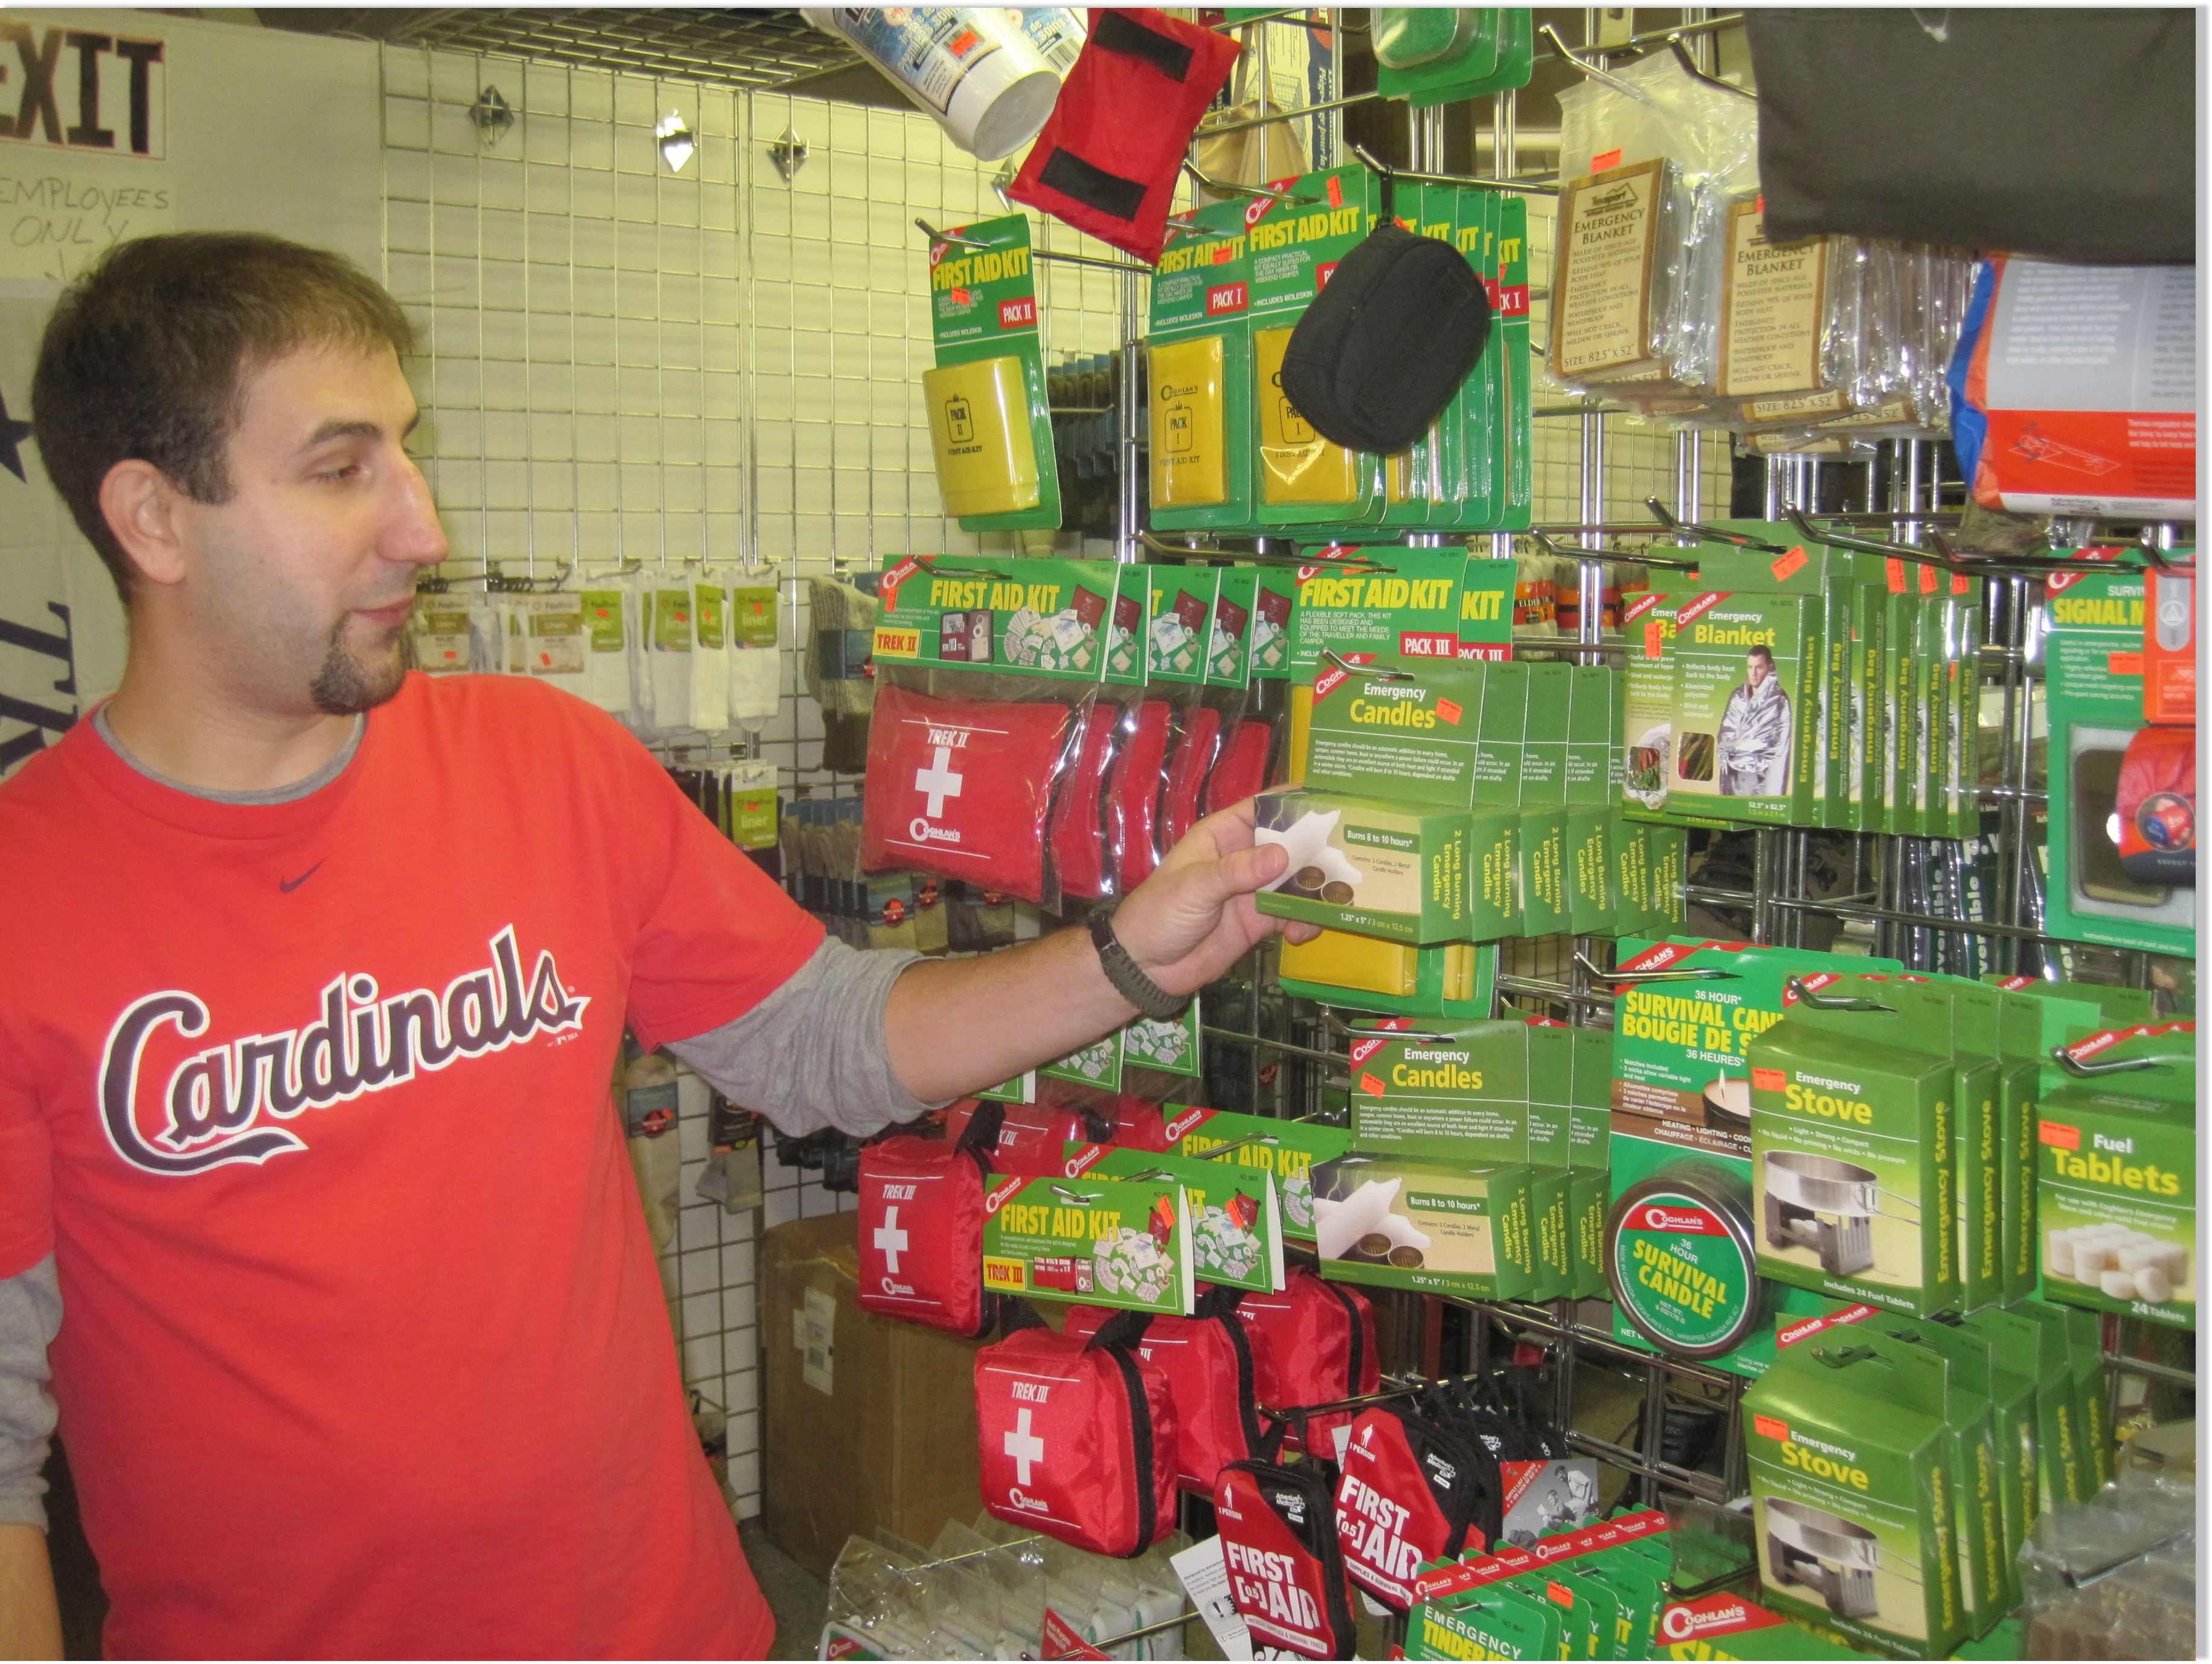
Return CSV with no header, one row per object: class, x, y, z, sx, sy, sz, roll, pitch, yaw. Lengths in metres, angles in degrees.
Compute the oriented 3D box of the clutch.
clutch,0.361,-0.624,2.424,0.213,0.299,0.099,35,-3,-24
